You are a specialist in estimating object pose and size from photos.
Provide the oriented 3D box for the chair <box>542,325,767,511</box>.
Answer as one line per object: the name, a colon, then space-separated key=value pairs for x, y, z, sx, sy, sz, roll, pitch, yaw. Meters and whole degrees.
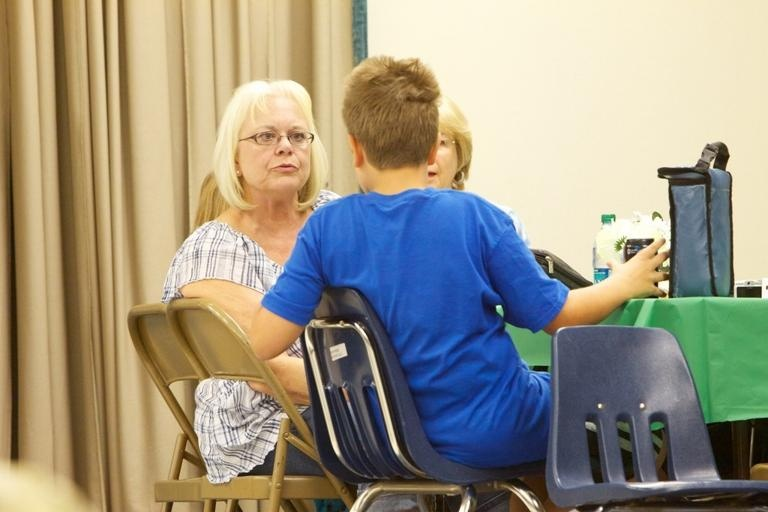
chair: x=0.729 y=0.444 z=3.328 sx=0.601 sy=0.516 sz=0.520 roll=5 pitch=-14 yaw=-23

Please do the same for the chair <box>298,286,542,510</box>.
chair: x=0.141 y=0.401 z=3.429 sx=0.751 sy=0.774 sz=0.491 roll=3 pitch=-8 yaw=-41

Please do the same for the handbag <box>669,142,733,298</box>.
handbag: x=0.982 y=-0.076 z=3.514 sx=0.221 sy=0.349 sz=0.123 roll=-4 pitch=-3 yaw=5

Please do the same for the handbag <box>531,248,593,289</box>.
handbag: x=0.578 y=0.042 z=3.670 sx=0.157 sy=0.052 sz=0.125 roll=26 pitch=1 yaw=-18
